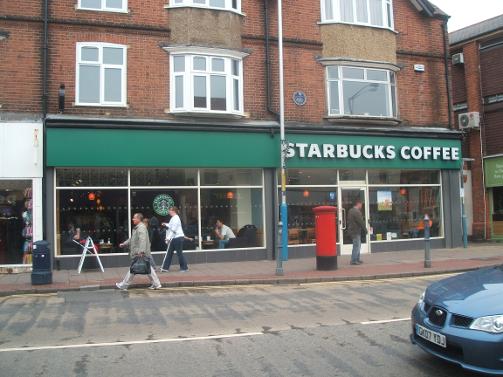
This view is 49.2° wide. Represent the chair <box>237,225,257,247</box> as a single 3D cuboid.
[{"bbox_3d":[-0.274,1.762,20.402,0.724,0.917,0.751,6,-10,-42],"label":"chair"}]

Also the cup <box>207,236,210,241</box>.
[{"bbox_3d":[-1.569,1.777,19.695,0.099,0.168,0.162,-4,-6,39],"label":"cup"}]

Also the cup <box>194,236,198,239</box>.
[{"bbox_3d":[-2.003,1.735,19.562,0.149,0.149,0.083,2,-6,-20],"label":"cup"}]

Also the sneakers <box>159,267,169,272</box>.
[{"bbox_3d":[-2.825,2.579,17.599,0.152,0.092,0.205,-3,-7,44],"label":"sneakers"}]

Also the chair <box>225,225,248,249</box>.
[{"bbox_3d":[-0.516,1.861,20.025,0.591,0.854,0.859,0,-6,-3],"label":"chair"}]

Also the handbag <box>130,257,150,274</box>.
[{"bbox_3d":[-2.998,2.055,14.689,0.547,0.481,0.354,-1,3,-13],"label":"handbag"}]

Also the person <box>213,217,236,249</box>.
[{"bbox_3d":[-0.997,1.753,20.017,0.783,1.318,0.479,-7,9,-18],"label":"person"}]

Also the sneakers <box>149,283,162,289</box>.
[{"bbox_3d":[-2.668,2.669,15.089,0.306,0.143,0.129,0,-1,7],"label":"sneakers"}]

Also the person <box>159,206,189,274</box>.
[{"bbox_3d":[-2.590,1.627,17.917,0.845,2.069,1.245,-1,3,-14],"label":"person"}]

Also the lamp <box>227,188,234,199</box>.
[{"bbox_3d":[-0.802,0.214,20.040,0.295,0.320,0.226,-5,-4,30],"label":"lamp"}]

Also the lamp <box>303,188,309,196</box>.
[{"bbox_3d":[2.055,0.170,20.879,0.226,0.280,0.230,0,0,-19],"label":"lamp"}]

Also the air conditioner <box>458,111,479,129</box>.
[{"bbox_3d":[10.724,-3.357,27.123,1.007,0.828,0.606,3,5,45],"label":"air conditioner"}]

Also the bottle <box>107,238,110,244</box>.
[{"bbox_3d":[-4.877,1.767,18.685,0.113,0.217,0.031,-1,3,-10],"label":"bottle"}]

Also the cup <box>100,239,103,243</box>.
[{"bbox_3d":[-5.106,1.770,18.619,0.125,0.116,0.084,6,-9,-34],"label":"cup"}]
